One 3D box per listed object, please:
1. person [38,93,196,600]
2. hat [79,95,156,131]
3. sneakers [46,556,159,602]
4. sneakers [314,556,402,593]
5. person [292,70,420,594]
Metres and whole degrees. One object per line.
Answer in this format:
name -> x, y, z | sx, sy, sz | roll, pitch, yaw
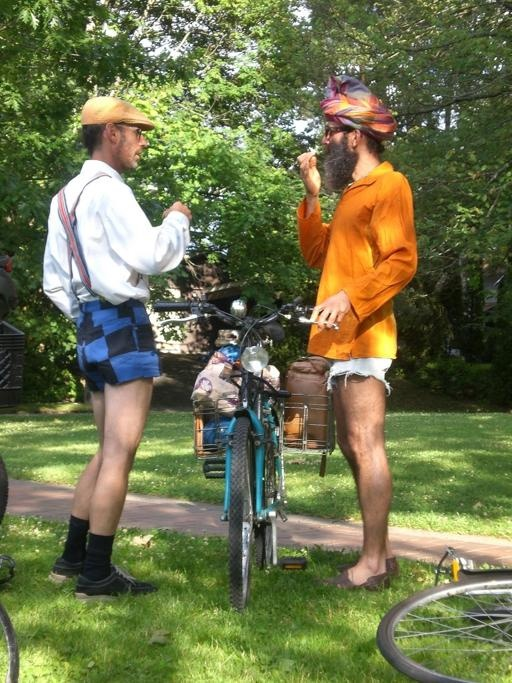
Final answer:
person -> -0.598, 0.001, 3.021 | 0.426, 2.189, 0.690 | 0, 2, -36
hat -> -0.591, -1.001, 3.067 | 0.348, 0.114, 0.211 | -3, 20, -12
sneakers -> -0.692, 1.014, 2.992 | 0.542, 0.162, 0.167 | 4, -6, -13
sneakers -> 0.495, 1.133, 3.356 | 0.395, 0.114, 0.127 | 1, -6, -1
person -> 0.472, -0.091, 3.426 | 0.578, 2.551, 0.869 | 2, 2, 2
